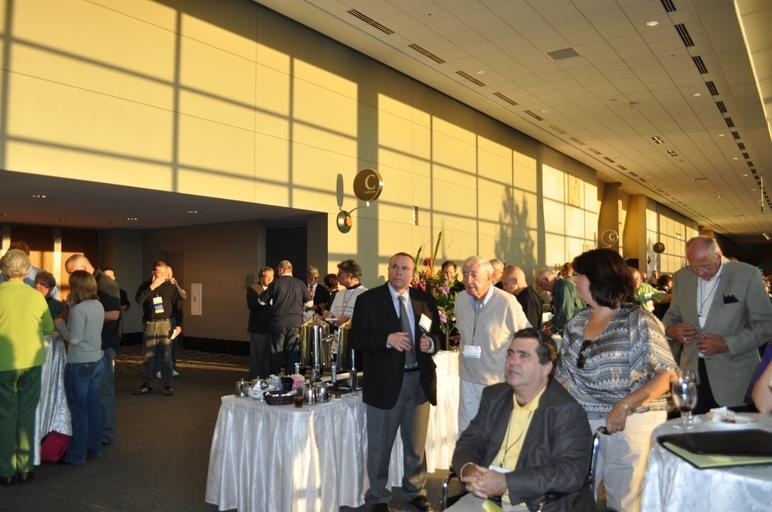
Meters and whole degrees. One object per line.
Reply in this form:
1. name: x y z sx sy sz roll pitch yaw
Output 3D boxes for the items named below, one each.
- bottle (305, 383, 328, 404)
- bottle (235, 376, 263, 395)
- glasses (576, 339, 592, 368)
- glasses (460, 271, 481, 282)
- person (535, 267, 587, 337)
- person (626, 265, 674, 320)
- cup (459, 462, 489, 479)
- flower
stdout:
1. bottle: -0.605 1.192 4.904 0.187 0.142 0.124 -3 -3 1
2. bottle: -1.222 1.180 5.146 0.172 0.086 0.245 1 0 -6
3. glasses: 1.450 0.714 4.149 0.044 0.199 0.094 15 -5 -26
4. glasses: 0.821 0.198 5.444 0.157 0.113 0.213 -2 -19 13
5. person: 2.520 0.579 8.223 0.640 0.609 1.403 10 -24 39
6. person: 3.749 0.487 7.987 0.217 0.396 0.767 -28 -65 39
7. cup: 0.542 1.408 3.688 0.105 0.096 0.158 0 -4 -28
8. flower: 0.565 0.460 6.595 0.602 1.423 0.711 -14 18 -27
